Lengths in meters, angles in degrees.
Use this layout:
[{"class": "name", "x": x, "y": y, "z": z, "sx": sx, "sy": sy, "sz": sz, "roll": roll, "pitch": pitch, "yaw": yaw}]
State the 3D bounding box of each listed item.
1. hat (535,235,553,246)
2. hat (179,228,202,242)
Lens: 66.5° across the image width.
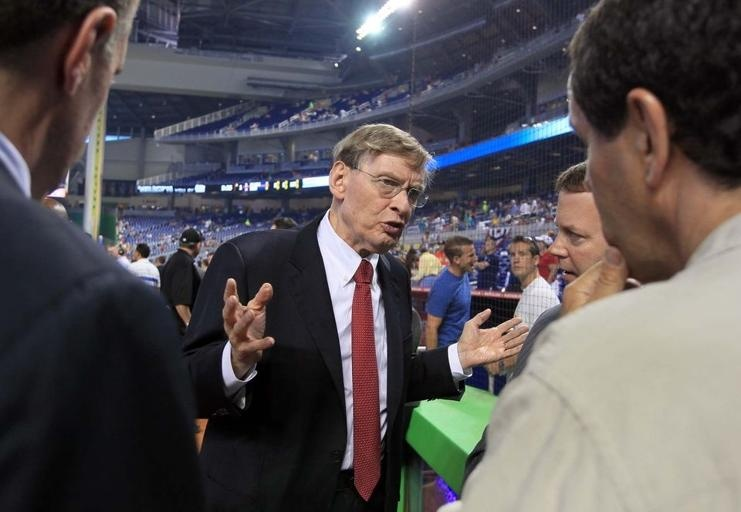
[{"class": "hat", "x": 1.813, "y": -0.168, "z": 5.926, "sx": 0.209, "sy": 0.120, "sz": 0.348, "roll": 6, "pitch": 3, "yaw": 17}, {"class": "hat", "x": -1.875, "y": -0.202, "z": 5.929, "sx": 0.144, "sy": 0.115, "sz": 0.208, "roll": 6, "pitch": 18, "yaw": 12}]
